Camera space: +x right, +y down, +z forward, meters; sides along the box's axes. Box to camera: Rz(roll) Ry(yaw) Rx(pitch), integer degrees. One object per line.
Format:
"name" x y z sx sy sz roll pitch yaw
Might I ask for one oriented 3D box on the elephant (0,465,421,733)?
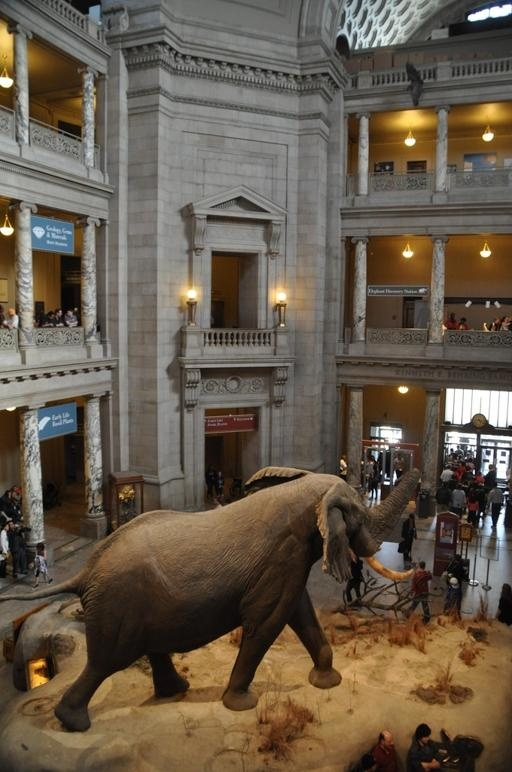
"elephant" -0.292 2.014 5.618 2.921 2.617 1.743 4 -3 -17

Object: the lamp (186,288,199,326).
"lamp" -1.732 -2.130 16.105 0.336 1.042 0.432 3 -2 -8

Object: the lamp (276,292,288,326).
"lamp" 0.727 -2.215 17.427 0.341 1.106 0.624 3 -3 2
